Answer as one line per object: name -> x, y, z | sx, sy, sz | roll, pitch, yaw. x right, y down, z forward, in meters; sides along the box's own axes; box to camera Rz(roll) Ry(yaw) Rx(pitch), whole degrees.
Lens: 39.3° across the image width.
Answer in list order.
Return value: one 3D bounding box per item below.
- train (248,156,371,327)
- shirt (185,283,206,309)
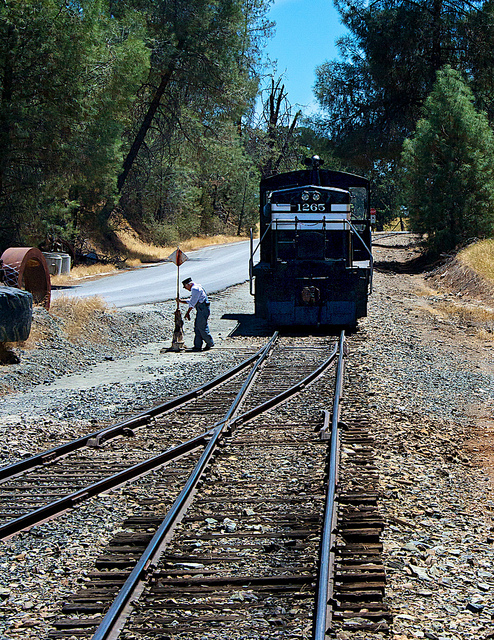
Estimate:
train -> 1.867, -2.208, 18.855 | 3.095, 3.524, 7.627 | 1, 10, 7
shirt -> -1.179, -0.511, 14.515 | 0.417, 0.506, 0.707 | 4, 6, 14
